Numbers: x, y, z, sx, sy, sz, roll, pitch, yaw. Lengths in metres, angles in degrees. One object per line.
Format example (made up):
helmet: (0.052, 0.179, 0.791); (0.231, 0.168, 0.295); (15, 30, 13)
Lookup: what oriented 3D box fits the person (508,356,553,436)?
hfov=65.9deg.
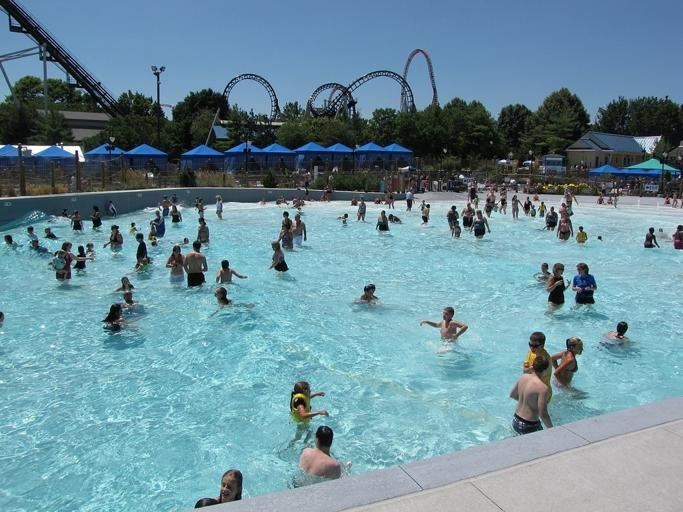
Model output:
person: (2.682, 2.045, 7.467); (0.532, 1.093, 0.840); (3, 9, 18)

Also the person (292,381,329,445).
person: (-0.538, 2.616, 8.370); (0.564, 1.289, 0.626); (-4, 23, -14)
